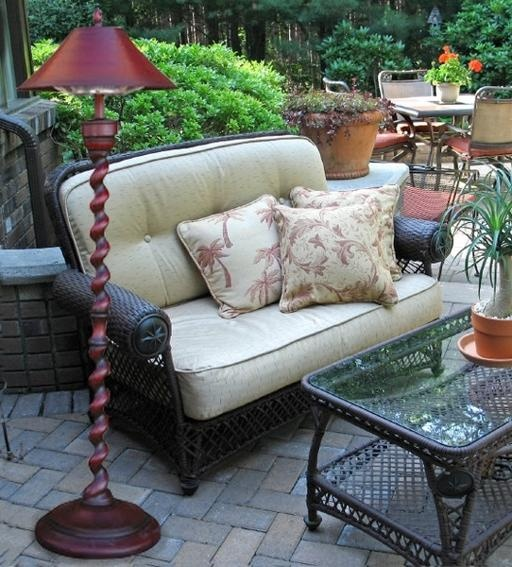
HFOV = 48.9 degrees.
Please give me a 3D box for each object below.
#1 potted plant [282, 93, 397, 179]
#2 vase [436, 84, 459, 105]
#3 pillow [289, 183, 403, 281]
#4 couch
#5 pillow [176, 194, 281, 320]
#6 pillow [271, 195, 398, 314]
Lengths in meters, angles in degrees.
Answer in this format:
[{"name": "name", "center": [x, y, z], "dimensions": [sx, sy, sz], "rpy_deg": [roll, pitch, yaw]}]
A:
[{"name": "potted plant", "center": [0.514, -0.959, 3.726], "dimensions": [0.705, 0.455, 0.607], "rpy_deg": [-4, 19, -7]}, {"name": "vase", "center": [1.907, -1.917, 5.696], "dimensions": [0.275, 0.170, 0.227], "rpy_deg": [2, 39, 9]}, {"name": "pillow", "center": [0.386, -0.217, 2.467], "dimensions": [0.522, 0.380, 0.143], "rpy_deg": [-4, -7, -21]}, {"name": "couch", "center": [-0.057, 0.130, 1.964], "dimensions": [1.323, 0.751, 0.753], "rpy_deg": [-20, 31, -38]}, {"name": "pillow", "center": [-0.105, -0.092, 2.226], "dimensions": [0.498, 0.389, 0.152], "rpy_deg": [-17, -6, -38]}, {"name": "pillow", "center": [0.285, -0.106, 2.158], "dimensions": [0.530, 0.387, 0.147], "rpy_deg": [-3, -11, -16]}]
